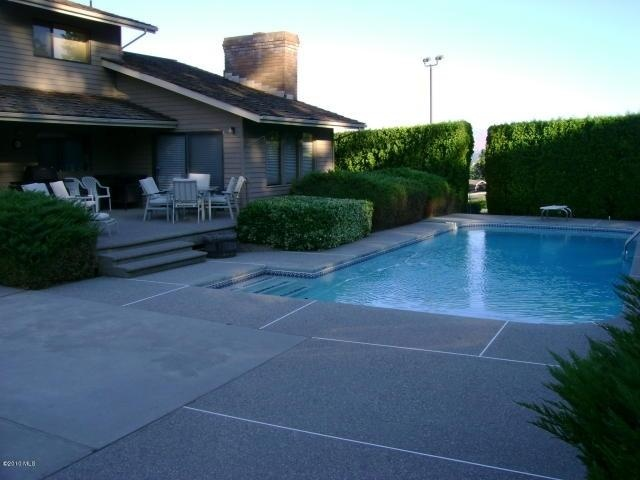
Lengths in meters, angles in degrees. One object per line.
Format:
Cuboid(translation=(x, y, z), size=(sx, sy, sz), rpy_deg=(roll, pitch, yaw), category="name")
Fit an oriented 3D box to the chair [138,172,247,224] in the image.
Cuboid(translation=(-3.816, -1.278, 13.725), size=(2.917, 1.300, 2.469), rpy_deg=(-3, 10, -18), category="chair")
